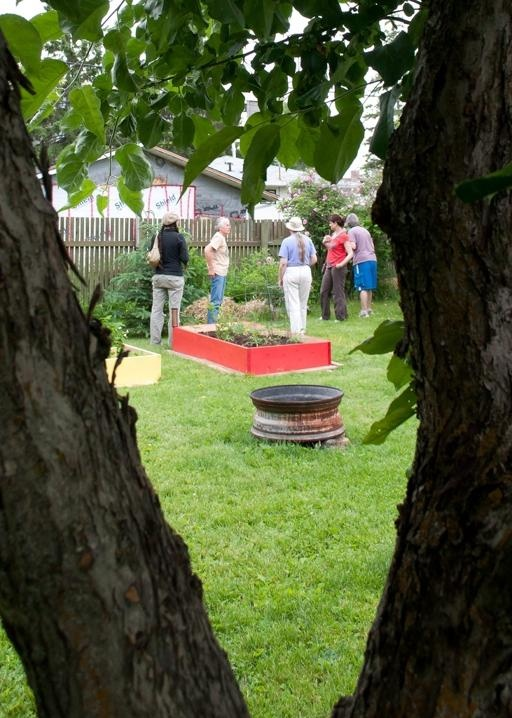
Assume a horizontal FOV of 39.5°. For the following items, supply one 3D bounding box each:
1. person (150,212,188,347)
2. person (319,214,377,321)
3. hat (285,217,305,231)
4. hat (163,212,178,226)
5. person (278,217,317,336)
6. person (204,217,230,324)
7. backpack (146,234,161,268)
[{"bbox_3d":[-1.368,-1.301,11.186,0.566,1.805,1.056,2,1,-6],"label":"person"},{"bbox_3d":[1.796,-1.789,13.932,1.000,1.377,1.463,3,1,4],"label":"person"},{"bbox_3d":[0.608,-2.068,10.963,0.214,0.237,0.276,2,1,-10],"label":"hat"},{"bbox_3d":[-1.289,-2.127,10.812,0.208,0.214,0.345,2,1,-9],"label":"hat"},{"bbox_3d":[0.605,-1.274,10.985,0.495,1.747,0.854,3,1,9],"label":"person"},{"bbox_3d":[-0.645,-1.493,11.850,0.368,1.842,1.495,2,1,-3],"label":"person"},{"bbox_3d":[-1.525,-1.651,10.788,0.155,0.515,0.309,3,1,5],"label":"backpack"}]
